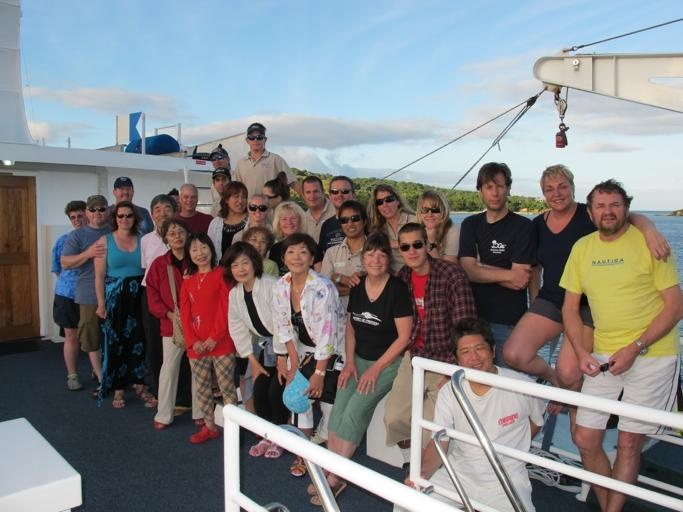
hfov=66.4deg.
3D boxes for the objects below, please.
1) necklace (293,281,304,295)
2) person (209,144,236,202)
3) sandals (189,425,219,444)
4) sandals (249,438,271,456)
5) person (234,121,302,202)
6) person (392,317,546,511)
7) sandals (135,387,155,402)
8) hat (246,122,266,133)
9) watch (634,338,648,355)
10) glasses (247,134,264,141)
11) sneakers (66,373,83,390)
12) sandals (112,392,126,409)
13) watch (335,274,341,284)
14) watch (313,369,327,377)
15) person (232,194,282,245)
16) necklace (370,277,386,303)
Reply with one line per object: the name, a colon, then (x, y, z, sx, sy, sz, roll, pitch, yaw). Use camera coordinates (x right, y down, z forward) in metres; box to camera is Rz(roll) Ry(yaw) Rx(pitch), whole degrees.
necklace: (-0.414, 0.304, 4.987, 0.084, 0.102, 0.041, -2, -7, 7)
person: (-2.028, -1.313, 8.655, 0.373, 1.100, 0.343, -3, 6, -13)
sandals: (-1.460, 1.906, 5.593, 0.321, 0.135, 0.203, -4, 9, -18)
sandals: (-0.817, 1.934, 5.231, 0.138, 0.073, 0.204, 7, 37, 33)
person: (-1.183, -1.298, 7.429, 1.396, 1.143, 0.420, -2, 5, 11)
person: (1.026, 1.146, 3.788, 0.834, 1.221, 0.910, 2, 10, 20)
sandals: (-2.472, 1.770, 6.598, 0.144, 0.094, 0.369, -30, 28, -24)
hat: (-1.176, -1.792, 7.230, 0.237, 0.164, 0.242, -2, 9, -9)
watch: (2.210, 0.666, 3.855, 0.087, 0.082, 0.080, -25, 36, -8)
glasses: (-1.176, -1.651, 7.217, 0.283, 0.107, 0.149, 0, 9, 6)
sneakers: (-3.584, 1.707, 7.019, 0.149, 0.117, 0.276, -1, -2, -34)
sandals: (-2.756, 1.767, 6.469, 0.157, 0.173, 0.268, -5, 10, -25)
watch: (-0.026, 0.243, 5.511, 0.078, 0.074, 0.058, -19, -12, 31)
watch: (-0.190, 1.081, 4.822, 0.087, 0.051, 0.087, -3, -20, 32)
person: (-1.015, -0.425, 6.156, 0.655, 0.828, 0.353, 2, -5, -3)
necklace: (0.346, 0.313, 4.841, 0.142, 0.232, 0.057, 13, 6, 22)
